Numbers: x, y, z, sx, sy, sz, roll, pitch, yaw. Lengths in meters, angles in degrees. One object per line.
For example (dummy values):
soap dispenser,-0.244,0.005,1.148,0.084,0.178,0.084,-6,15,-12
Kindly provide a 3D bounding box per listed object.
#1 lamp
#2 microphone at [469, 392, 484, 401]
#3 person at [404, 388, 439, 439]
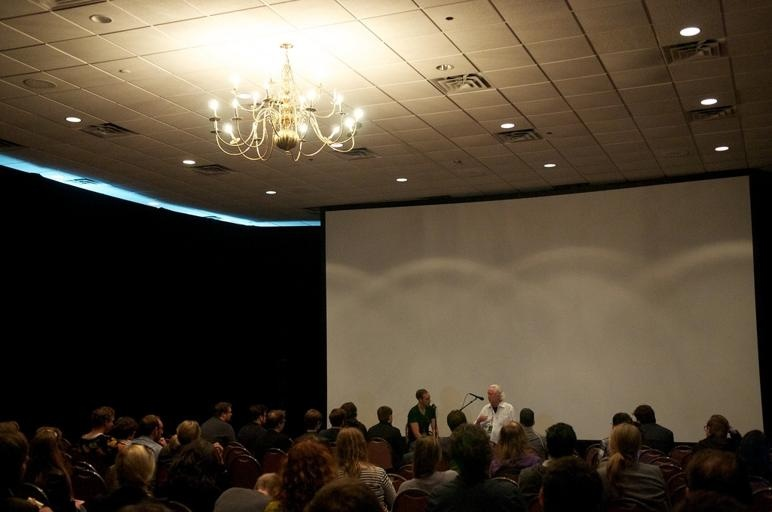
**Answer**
lamp,-1.467,-2.302,8.048,2.192,1.580,2.273,-2,6,-14
microphone,2.037,3.137,12.414,0.097,0.119,0.370,-21,9,-37
person,0.719,3.125,10.735,0.664,0.961,0.683,4,-6,-40
